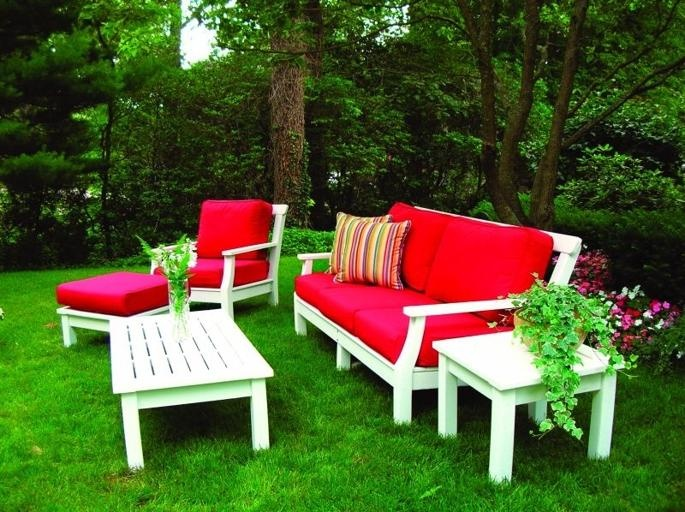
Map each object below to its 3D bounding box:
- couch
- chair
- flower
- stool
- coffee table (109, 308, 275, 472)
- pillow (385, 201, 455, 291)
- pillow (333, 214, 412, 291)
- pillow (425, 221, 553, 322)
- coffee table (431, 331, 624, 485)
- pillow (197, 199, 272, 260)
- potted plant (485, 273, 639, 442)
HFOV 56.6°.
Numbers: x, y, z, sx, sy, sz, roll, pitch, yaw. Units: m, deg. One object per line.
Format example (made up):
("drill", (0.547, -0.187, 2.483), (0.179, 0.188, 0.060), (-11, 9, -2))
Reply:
("couch", (0.536, 0.310, 5.036), (1.262, 1.325, 2.434), (0, 8, -18))
("chair", (-1.085, 0.004, 6.056), (1.092, 1.192, 1.050), (8, 10, 29))
("flower", (-1.217, 0.136, 4.389), (0.352, 0.720, 0.388), (-2, 13, -29))
("stool", (-1.878, 0.373, 5.409), (0.806, 0.605, 0.782), (13, 13, 41))
("coffee table", (-1.049, 0.795, 4.227), (0.898, 0.740, 1.291), (-2, 10, -22))
("pillow", (0.617, -0.047, 4.980), (0.172, 0.602, 0.588), (11, 6, -35))
("pillow", (0.186, -0.042, 5.220), (0.733, 0.627, 0.318), (11, 13, 36))
("pillow", (0.968, 0.084, 4.373), (0.511, 0.652, 0.864), (1, 8, -24))
("coffee table", (1.065, 0.799, 3.812), (0.882, 0.688, 0.845), (-6, 18, -21))
("pillow", (-1.116, -0.245, 6.392), (0.737, 0.555, 0.288), (0, -18, 22))
("potted plant", (1.291, 0.651, 3.804), (0.606, 1.011, 0.806), (-1, 10, -19))
